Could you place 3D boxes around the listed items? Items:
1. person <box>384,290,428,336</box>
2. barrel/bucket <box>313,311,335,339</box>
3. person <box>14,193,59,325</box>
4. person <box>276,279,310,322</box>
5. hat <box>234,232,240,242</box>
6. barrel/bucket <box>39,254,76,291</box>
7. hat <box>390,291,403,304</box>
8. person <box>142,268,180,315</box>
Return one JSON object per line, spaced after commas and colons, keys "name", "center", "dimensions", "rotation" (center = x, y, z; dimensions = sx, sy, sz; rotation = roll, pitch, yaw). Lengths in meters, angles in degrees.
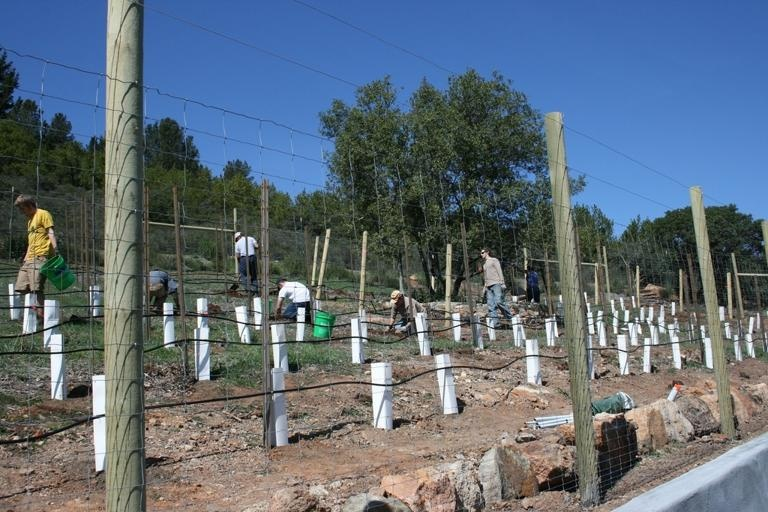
{"name": "person", "center": [0.475, 1.267, 13.840], "dimensions": [0.641, 1.024, 1.844], "rotation": [-2, -7, 2]}
{"name": "barrel/bucket", "center": [-1.174, 1.304, 11.553], "dimensions": [0.376, 0.551, 1.513], "rotation": [-1, -7, -7]}
{"name": "person", "center": [-6.136, -0.028, 10.587], "dimensions": [0.628, 2.203, 1.023], "rotation": [2, -8, -31]}
{"name": "person", "center": [-1.970, 0.946, 13.180], "dimensions": [0.676, 0.968, 1.107], "rotation": [0, -7, -12]}
{"name": "hat", "center": [-3.549, -0.450, 14.552], "dimensions": [0.161, 0.201, 0.209], "rotation": [1, -8, 4]}
{"name": "barrel/bucket", "center": [-5.789, 0.301, 10.570], "dimensions": [0.478, 0.656, 0.593], "rotation": [-7, -9, 36]}
{"name": "hat", "center": [0.278, 0.939, 13.765], "dimensions": [0.232, 0.278, 0.386], "rotation": [-2, -7, 2]}
{"name": "person", "center": [-4.807, 0.792, 13.216], "dimensions": [0.437, 0.809, 1.528], "rotation": [6, -1, 7]}
